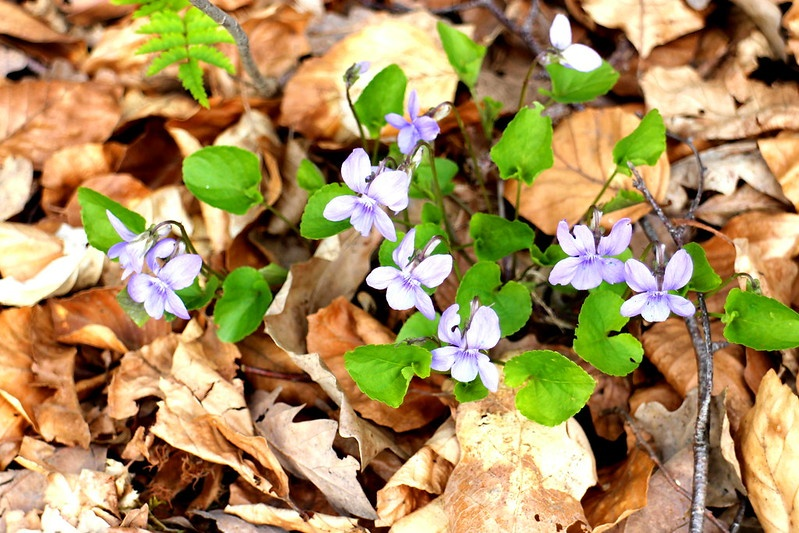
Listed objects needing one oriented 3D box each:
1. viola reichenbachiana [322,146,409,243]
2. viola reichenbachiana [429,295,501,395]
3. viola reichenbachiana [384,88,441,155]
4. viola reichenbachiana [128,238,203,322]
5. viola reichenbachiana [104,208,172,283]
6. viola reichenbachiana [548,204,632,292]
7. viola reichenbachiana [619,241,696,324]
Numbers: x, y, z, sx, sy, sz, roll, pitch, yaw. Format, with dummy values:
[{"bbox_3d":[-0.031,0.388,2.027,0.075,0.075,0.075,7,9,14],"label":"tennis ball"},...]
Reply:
[{"bbox_3d":[-0.170,-0.311,3.412,0.409,0.382,0.301,13,61,22],"label":"viola reichenbachiana"},{"bbox_3d":[0.332,0.378,3.380,0.302,0.407,0.321,15,62,24],"label":"viola reichenbachiana"},{"bbox_3d":[0.044,-0.685,3.482,0.181,0.239,0.325,-27,54,-4],"label":"viola reichenbachiana"},{"bbox_3d":[-1.102,0.072,3.548,0.354,0.108,0.378,-26,90,8],"label":"viola reichenbachiana"},{"bbox_3d":[-1.246,-0.109,3.496,0.323,0.315,0.154,-38,32,-30],"label":"viola reichenbachiana"},{"bbox_3d":[0.898,-0.093,3.495,0.325,0.172,0.361,2,101,-1],"label":"viola reichenbachiana"},{"bbox_3d":[1.165,0.084,3.368,0.306,0.163,0.338,-9,83,-7],"label":"viola reichenbachiana"}]
